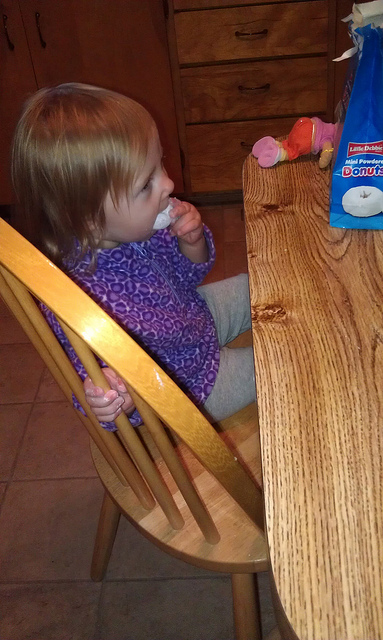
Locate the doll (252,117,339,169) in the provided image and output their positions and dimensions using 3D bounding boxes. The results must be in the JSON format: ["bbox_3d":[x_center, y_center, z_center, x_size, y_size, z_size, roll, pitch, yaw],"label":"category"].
[{"bbox_3d":[0.167,-0.292,0.825,0.142,0.068,0.129,2,47,19],"label":"doll"}]

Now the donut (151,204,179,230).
[{"bbox_3d":[-0.037,-0.149,0.783,0.031,0.016,0.043,34,82,27],"label":"donut"}]
